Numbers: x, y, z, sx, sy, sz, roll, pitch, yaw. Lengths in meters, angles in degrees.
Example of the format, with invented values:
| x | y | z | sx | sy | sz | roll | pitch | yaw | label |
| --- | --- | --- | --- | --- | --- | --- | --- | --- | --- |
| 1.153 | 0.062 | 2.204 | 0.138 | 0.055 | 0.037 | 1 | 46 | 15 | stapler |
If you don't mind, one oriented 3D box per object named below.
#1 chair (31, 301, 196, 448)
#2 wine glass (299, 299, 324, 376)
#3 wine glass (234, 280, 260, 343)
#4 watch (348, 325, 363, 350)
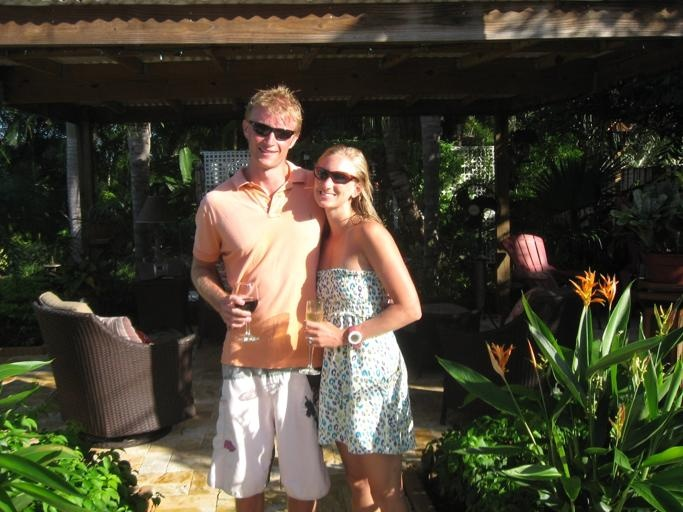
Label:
| x | y | z | sx | sy | sz | roll | pitch | yaw | label |
| --- | --- | --- | --- | --- | --- | --- | --- | --- | --- |
| -1.716 | 1.132 | 5.387 | 0.897 | 0.957 | 0.741 | 7 | -35 | -22 | chair |
| -0.159 | 0.446 | 3.445 | 0.111 | 0.433 | 0.222 | 0 | 3 | -7 | wine glass |
| -0.503 | 0.305 | 3.478 | 0.112 | 0.323 | 0.104 | -1 | 3 | -26 | wine glass |
| 0.070 | 0.423 | 3.361 | 0.069 | 0.111 | 0.042 | -6 | 3 | -17 | watch |
